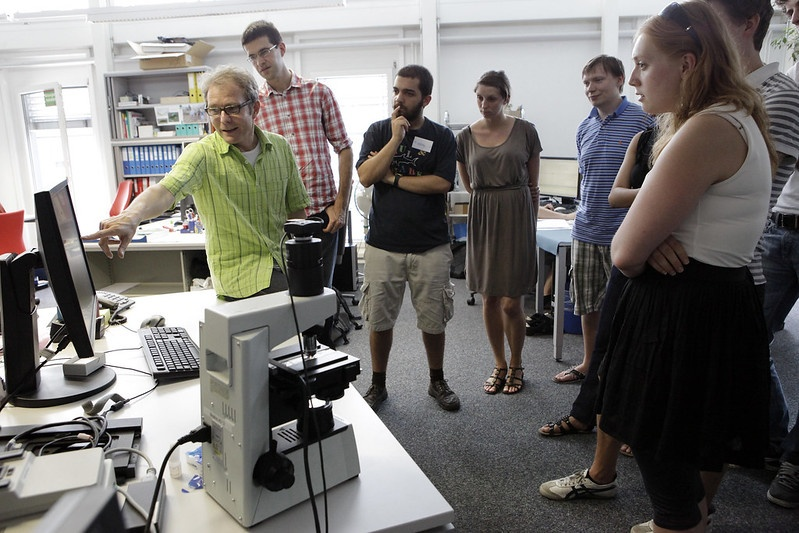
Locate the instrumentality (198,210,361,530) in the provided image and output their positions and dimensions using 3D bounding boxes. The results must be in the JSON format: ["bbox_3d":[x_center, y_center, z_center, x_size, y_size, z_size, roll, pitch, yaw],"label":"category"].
[{"bbox_3d":[-0.354,0.380,1.543,0.418,0.620,0.348,2,15,21],"label":"instrumentality"}]

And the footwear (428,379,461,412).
[{"bbox_3d":[0.266,0.763,3.263,0.103,0.101,0.226,-10,14,-27],"label":"footwear"}]

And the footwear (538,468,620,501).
[{"bbox_3d":[0.813,1.006,2.557,0.377,0.148,0.138,-1,14,7],"label":"footwear"}]

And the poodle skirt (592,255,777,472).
[{"bbox_3d":[0.982,0.278,1.811,0.593,0.617,0.460,3,1,35],"label":"poodle skirt"}]

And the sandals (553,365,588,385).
[{"bbox_3d":[1.096,0.697,3.507,0.202,0.079,0.096,1,12,-2],"label":"sandals"}]

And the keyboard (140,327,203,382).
[{"bbox_3d":[-0.876,0.335,2.101,0.148,0.047,0.381,-7,24,-25],"label":"keyboard"}]

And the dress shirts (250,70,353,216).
[{"bbox_3d":[-0.631,-0.803,3.379,0.648,0.816,0.272,-11,27,-6],"label":"dress shirts"}]

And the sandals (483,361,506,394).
[{"bbox_3d":[0.600,0.714,3.415,0.082,0.094,0.226,2,5,21],"label":"sandals"}]

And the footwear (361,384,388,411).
[{"bbox_3d":[-0.130,0.761,3.230,0.120,0.131,0.309,5,-1,18],"label":"footwear"}]

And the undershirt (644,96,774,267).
[{"bbox_3d":[0.964,-0.297,1.944,0.448,0.619,0.448,2,12,14],"label":"undershirt"}]

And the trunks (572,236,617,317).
[{"bbox_3d":[1.173,0.045,3.296,0.215,0.459,0.138,1,-2,-11],"label":"trunks"}]

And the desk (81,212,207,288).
[{"bbox_3d":[-1.874,-0.122,4.148,0.576,0.354,0.576,0,10,-2],"label":"desk"}]

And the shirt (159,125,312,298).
[{"bbox_3d":[-0.703,-0.258,2.462,0.301,0.752,0.910,23,28,36],"label":"shirt"}]

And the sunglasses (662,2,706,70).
[{"bbox_3d":[0.872,-0.703,1.693,0.049,0.161,0.143,-42,31,3],"label":"sunglasses"}]
